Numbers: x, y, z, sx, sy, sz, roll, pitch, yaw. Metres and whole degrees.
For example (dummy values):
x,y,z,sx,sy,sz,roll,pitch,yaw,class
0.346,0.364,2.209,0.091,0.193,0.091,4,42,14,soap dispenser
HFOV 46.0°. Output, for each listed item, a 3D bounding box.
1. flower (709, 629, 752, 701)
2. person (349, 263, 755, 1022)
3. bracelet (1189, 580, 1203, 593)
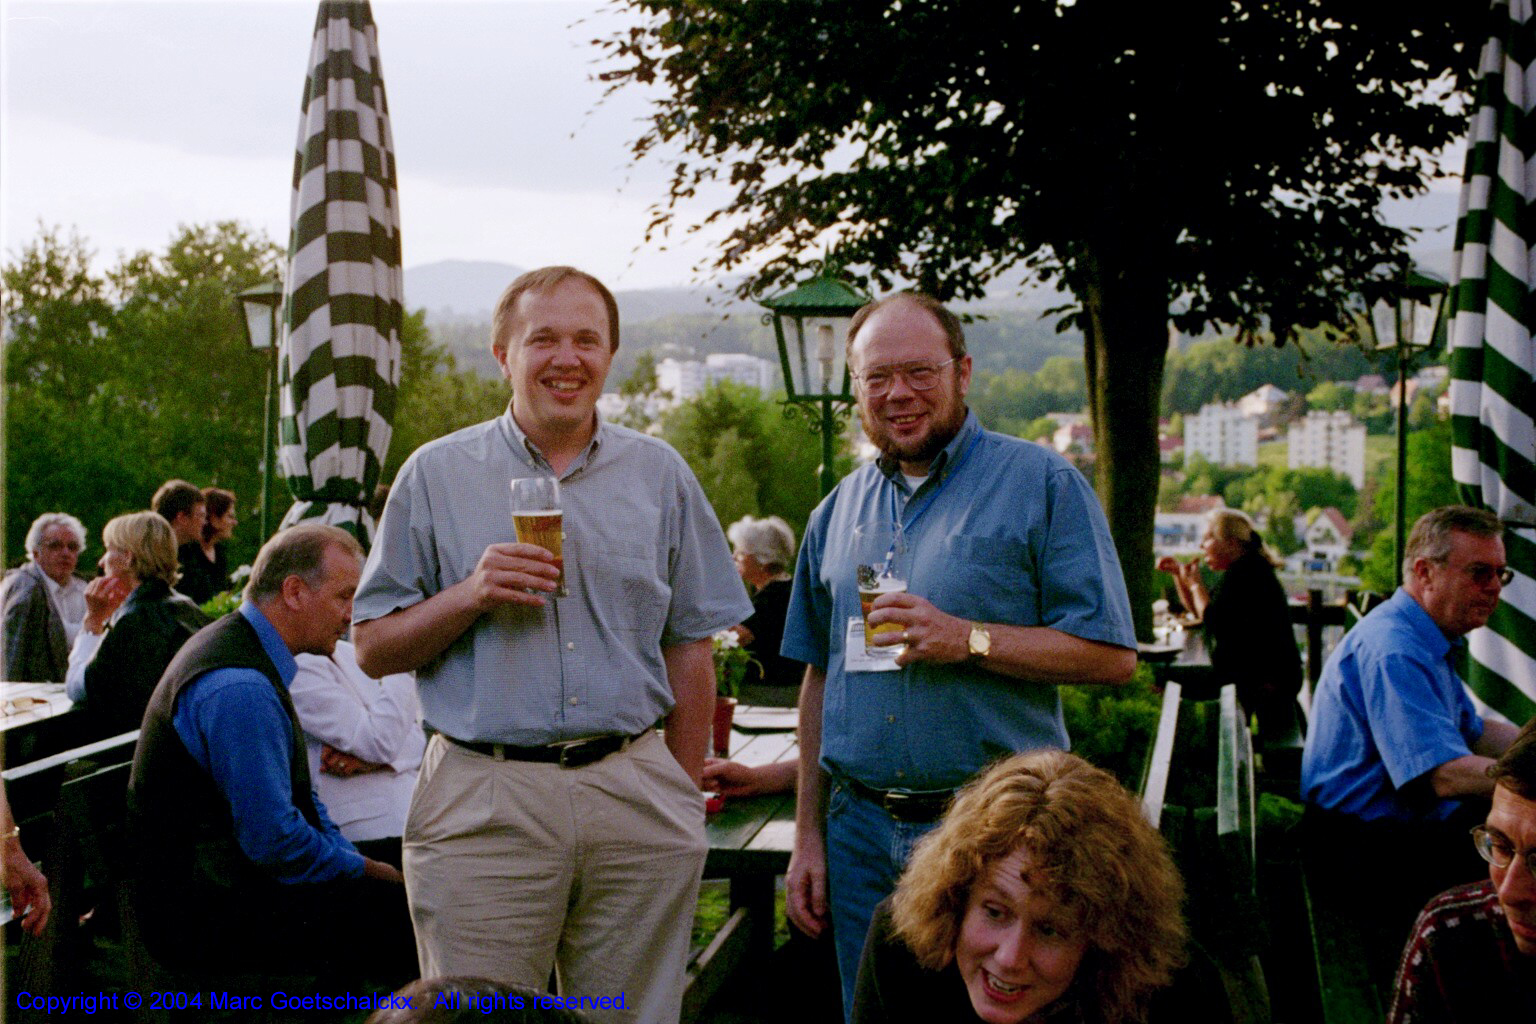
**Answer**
x,y,z,sx,sy,sz,roll,pitch,yaw,class
-0.222,0.751,9.112,0.244,0.326,0.241,-7,-9,-11,flower
-0.887,0.529,7.375,1.434,2.749,0.452,0,0,-1,person
3.340,0.566,14.071,0.085,0.085,0.052,5,2,-1,bracelet
